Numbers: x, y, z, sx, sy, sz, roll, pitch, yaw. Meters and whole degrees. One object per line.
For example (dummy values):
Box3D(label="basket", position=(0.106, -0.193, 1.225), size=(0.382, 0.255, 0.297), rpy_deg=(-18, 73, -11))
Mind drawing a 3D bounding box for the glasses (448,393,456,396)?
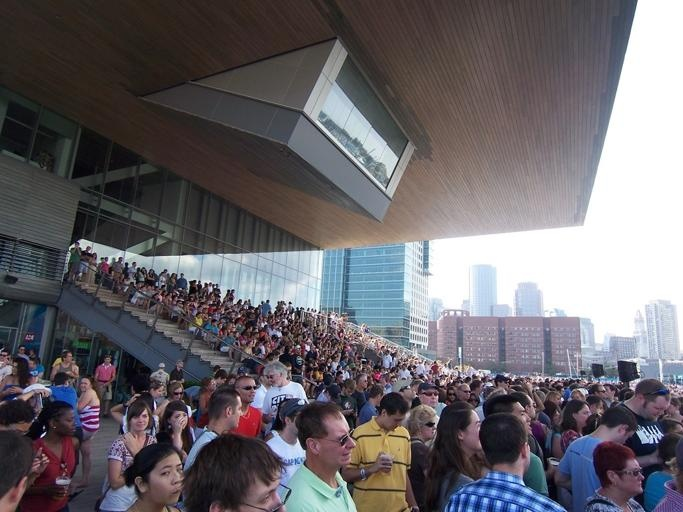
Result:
Box3D(label="glasses", position=(2.326, 2.946, 8.752), size=(0.105, 0.044, 0.116), rpy_deg=(1, 0, 8))

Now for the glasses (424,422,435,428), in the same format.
Box3D(label="glasses", position=(1.080, 2.055, 5.010), size=(0.076, 0.043, 0.077), rpy_deg=(4, -13, -13))

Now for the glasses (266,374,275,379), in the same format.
Box3D(label="glasses", position=(-1.137, 1.952, 6.606), size=(0.085, 0.107, 0.343), rpy_deg=(1, -13, -13))

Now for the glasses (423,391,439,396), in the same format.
Box3D(label="glasses", position=(1.401, 2.165, 6.483), size=(0.196, 0.090, 0.059), rpy_deg=(-1, -13, -8))

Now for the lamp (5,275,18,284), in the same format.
Box3D(label="lamp", position=(-12.054, 0.884, 15.102), size=(0.227, 0.322, 0.418), rpy_deg=(-6, -9, 35))

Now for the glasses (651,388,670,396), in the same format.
Box3D(label="glasses", position=(4.527, 1.953, 5.875), size=(0.157, 0.052, 0.157), rpy_deg=(6, -24, -44))
